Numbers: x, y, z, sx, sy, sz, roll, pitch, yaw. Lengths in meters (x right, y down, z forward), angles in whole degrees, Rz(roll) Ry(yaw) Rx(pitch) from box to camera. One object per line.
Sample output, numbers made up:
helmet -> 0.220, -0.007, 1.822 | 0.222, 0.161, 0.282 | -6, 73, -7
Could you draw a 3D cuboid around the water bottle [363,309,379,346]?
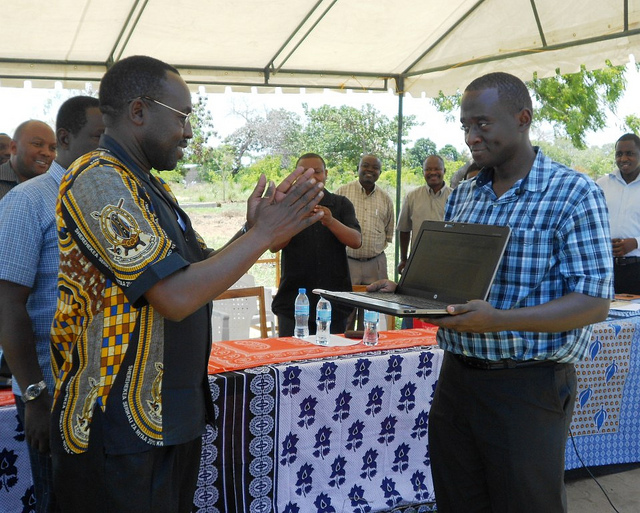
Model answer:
water bottle -> 0.293, 0.354, 3.617 | 0.085, 0.313, 0.082 | 2, 4, 0
